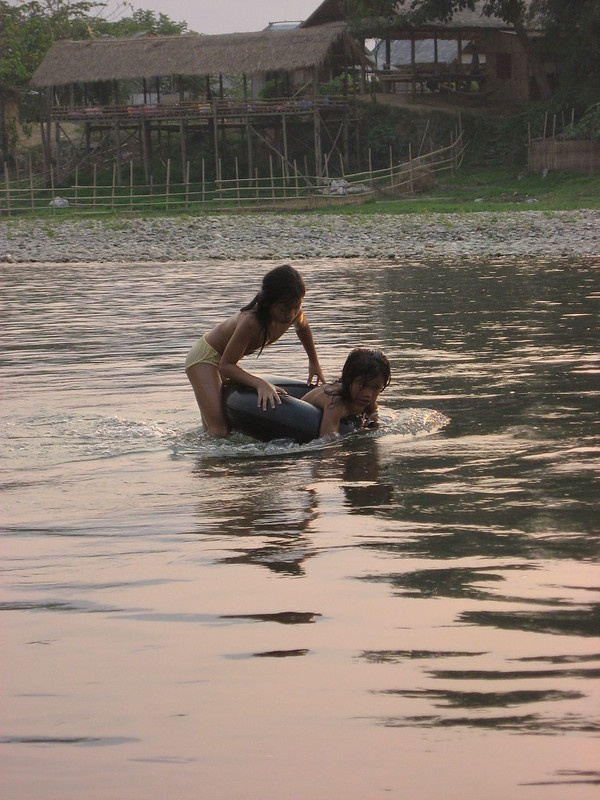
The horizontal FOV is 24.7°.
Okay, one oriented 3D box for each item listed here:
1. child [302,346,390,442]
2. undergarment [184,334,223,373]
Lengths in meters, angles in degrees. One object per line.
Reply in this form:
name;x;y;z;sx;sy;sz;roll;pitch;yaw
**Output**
child;0.222;-0.025;6.240;0.292;0.464;0.416;4;15;-36
undergarment;-0.473;-0.219;6.499;0.156;0.199;0.274;3;4;-16
